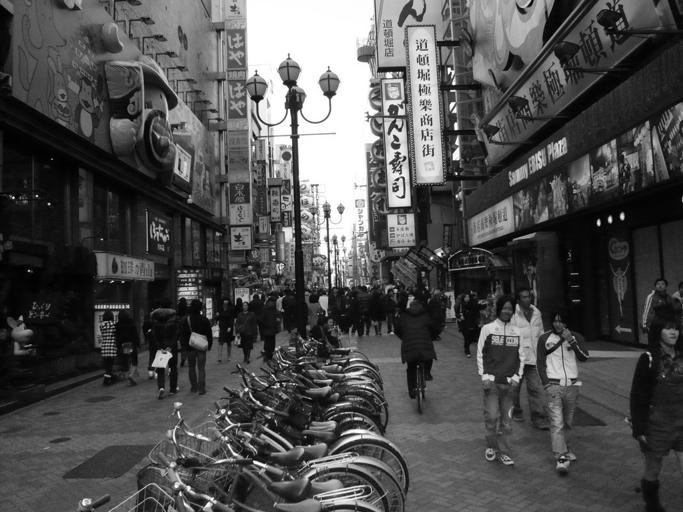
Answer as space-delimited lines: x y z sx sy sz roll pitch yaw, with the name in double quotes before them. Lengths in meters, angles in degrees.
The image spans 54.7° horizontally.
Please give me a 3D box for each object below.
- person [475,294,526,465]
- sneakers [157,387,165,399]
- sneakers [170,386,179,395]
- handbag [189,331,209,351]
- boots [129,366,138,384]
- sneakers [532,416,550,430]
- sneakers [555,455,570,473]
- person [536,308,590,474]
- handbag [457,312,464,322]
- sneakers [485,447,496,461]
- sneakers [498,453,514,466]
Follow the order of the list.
"person" 2.684 2.051 11.124 0.672 2.757 0.516 -3 -5 35
"sneakers" -4.382 3.361 15.895 0.127 0.165 0.371 6 -43 -19
"sneakers" -4.206 3.341 16.431 0.095 0.143 0.298 1 5 4
"handbag" -3.574 2.093 16.290 0.333 0.372 0.136 17 -23 -26
"boots" -5.948 3.376 18.712 0.114 0.428 0.269 -1 17 -5
"sneakers" 3.718 3.126 12.302 0.122 0.284 0.367 -14 -15 -14
"sneakers" 3.533 3.279 10.452 0.267 0.285 0.237 -1 -4 0
"person" 3.584 2.169 10.665 0.729 2.527 0.557 -1 -4 12
"handbag" 3.749 1.919 20.797 0.163 0.267 0.075 -11 -20 43
"sneakers" 2.496 3.302 10.982 0.172 0.191 0.165 -1 -4 -2
"sneakers" 2.728 3.318 10.807 0.242 0.179 0.182 -1 -4 0
